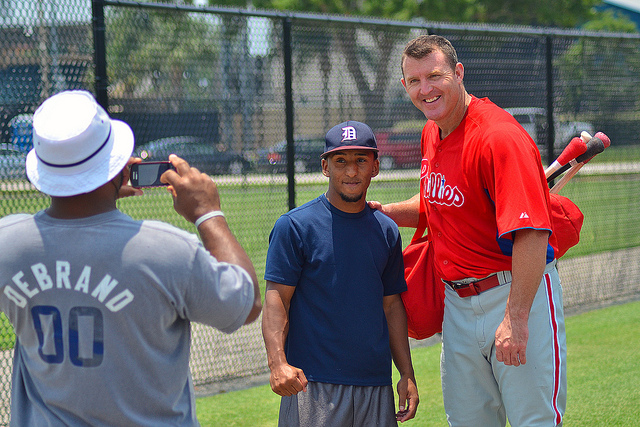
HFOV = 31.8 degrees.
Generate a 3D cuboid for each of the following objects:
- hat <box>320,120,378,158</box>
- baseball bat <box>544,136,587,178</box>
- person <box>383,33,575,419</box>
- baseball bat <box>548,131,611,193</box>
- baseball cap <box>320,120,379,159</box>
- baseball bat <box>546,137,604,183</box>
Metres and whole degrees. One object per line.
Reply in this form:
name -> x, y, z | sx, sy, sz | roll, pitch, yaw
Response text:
hat -> 0.224, -0.567, 8.860 | 0.431, 0.294, 0.564 | -7, -6, 4
baseball bat -> 2.162, -0.502, 9.988 | 0.135, 0.136, 0.578 | 9, -52, -50
person -> 1.252, 0.122, 8.762 | 1.146, 3.080, 0.599 | -2, 9, 42
baseball bat -> 2.396, -0.488, 10.506 | 0.797, 0.171, 0.142 | -47, 33, 22
baseball cap -> 0.224, -0.579, 8.868 | 0.417, 0.286, 0.571 | -6, -2, 1
baseball bat -> 2.282, -0.485, 10.173 | 0.659, 0.119, 0.117 | -43, 12, 16
